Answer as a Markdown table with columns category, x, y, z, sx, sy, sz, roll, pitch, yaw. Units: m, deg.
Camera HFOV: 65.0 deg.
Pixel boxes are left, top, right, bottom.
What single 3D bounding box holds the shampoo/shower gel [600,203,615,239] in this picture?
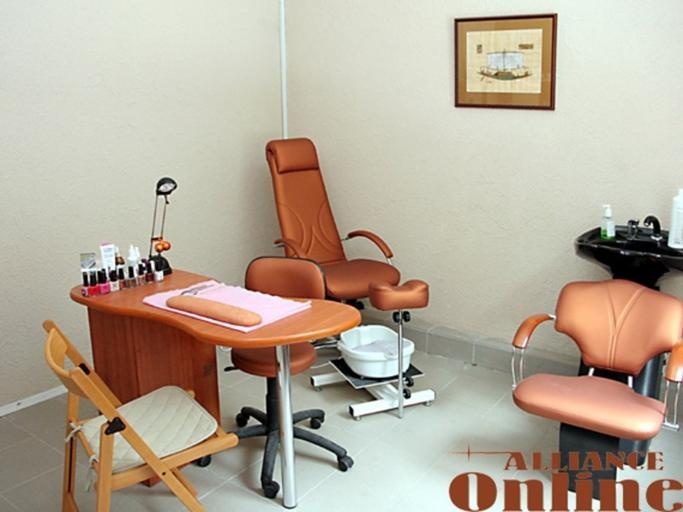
| category | x | y | z | sx | sy | sz | roll | pitch | yaw |
| --- | --- | --- | --- | --- | --- | --- | --- | --- | --- |
| shampoo/shower gel | 1.663 | -0.218 | 3.322 | 0.085 | 0.191 | 0.224 | 7 | 16 | 25 |

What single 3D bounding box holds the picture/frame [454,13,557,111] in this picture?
| category | x | y | z | sx | sy | sz | roll | pitch | yaw |
| --- | --- | --- | --- | --- | --- | --- | --- | --- | --- |
| picture/frame | 1.159 | -1.365 | 3.689 | 0.795 | 0.642 | 0.062 | 5 | 12 | 33 |

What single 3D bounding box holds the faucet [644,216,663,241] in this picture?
| category | x | y | z | sx | sy | sz | roll | pitch | yaw |
| --- | --- | --- | --- | --- | --- | --- | --- | --- | --- |
| faucet | 1.888 | -0.189 | 3.227 | 0.098 | 0.139 | 0.307 | 8 | 16 | 30 |
